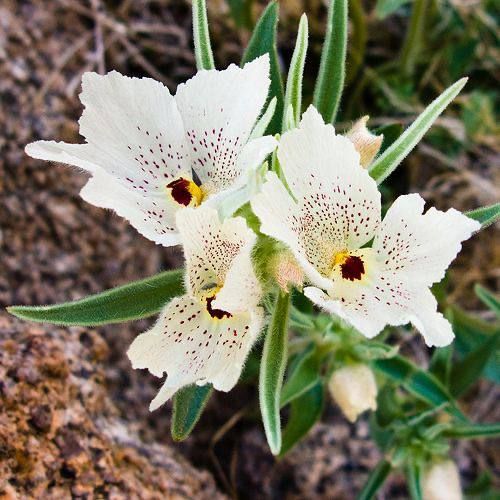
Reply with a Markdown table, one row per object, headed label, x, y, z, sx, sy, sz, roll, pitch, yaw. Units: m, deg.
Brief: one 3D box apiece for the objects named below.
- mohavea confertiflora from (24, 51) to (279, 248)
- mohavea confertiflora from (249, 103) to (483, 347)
| label | x | y | z | sx | sy | sz | roll | pitch | yaw |
| --- | --- | --- | --- | --- | --- | --- | --- | --- | --- |
| mohavea confertiflora | -0.272 | -0.307 | 1.992 | 0.640 | 0.271 | 0.652 | 31 | 85 | 10 |
| mohavea confertiflora | 0.291 | -0.011 | 2.057 | 0.652 | 0.706 | 0.981 | 3 | 44 | -2 |
